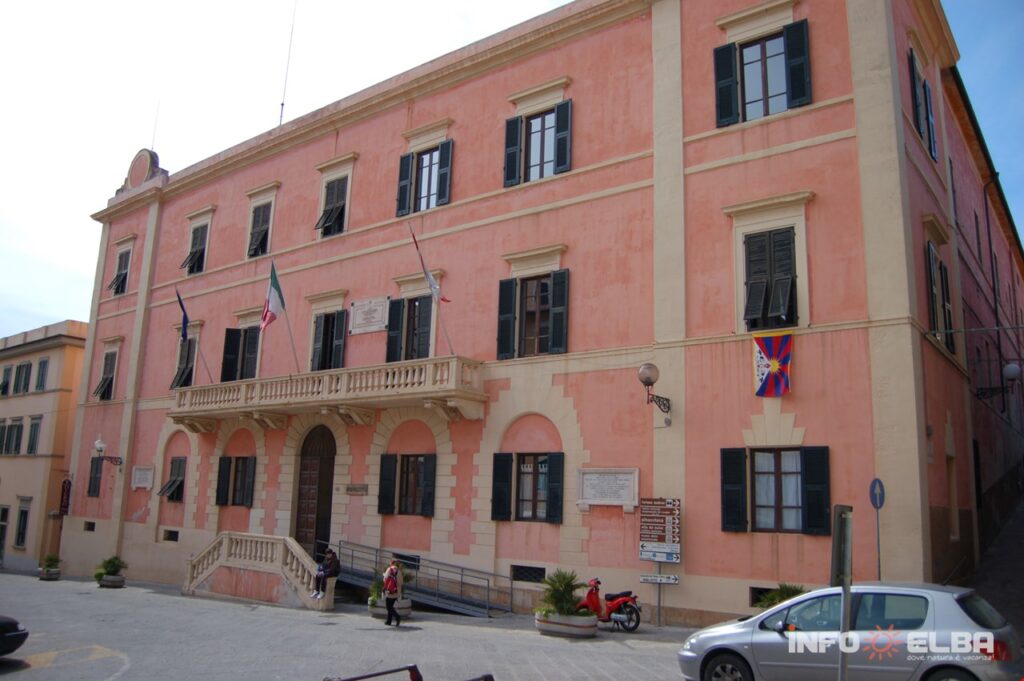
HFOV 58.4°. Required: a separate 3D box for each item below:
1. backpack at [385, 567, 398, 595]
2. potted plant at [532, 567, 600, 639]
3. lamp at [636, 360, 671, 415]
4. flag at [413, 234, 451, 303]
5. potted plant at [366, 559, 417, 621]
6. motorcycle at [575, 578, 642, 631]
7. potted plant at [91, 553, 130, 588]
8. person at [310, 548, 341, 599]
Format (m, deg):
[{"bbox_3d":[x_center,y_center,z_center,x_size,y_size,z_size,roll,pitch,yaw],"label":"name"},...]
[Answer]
[{"bbox_3d":[-3.567,7.091,27.059,0.383,0.785,0.198,3,-17,-6],"label":"backpack"},{"bbox_3d":[1.501,7.422,25.736,1.845,1.619,1.067,-4,-5,30],"label":"potted plant"},{"bbox_3d":[4.290,1.549,27.776,1.240,1.554,0.719,8,-13,-11],"label":"lamp"},{"bbox_3d":[-2.804,-2.526,32.823,0.494,2.795,0.346,-41,-25,31],"label":"flag"},{"bbox_3d":[-3.551,7.452,27.212,0.574,1.769,0.660,-2,-12,24],"label":"potted plant"},{"bbox_3d":[2.811,7.635,26.522,2.242,1.344,0.988,-7,-8,38],"label":"motorcycle"},{"bbox_3d":[-15.979,9.358,36.995,1.315,1.668,1.320,10,-11,2],"label":"potted plant"},{"bbox_3d":[-6.065,7.563,29.801,0.740,1.598,0.846,7,-18,-17],"label":"person"}]
